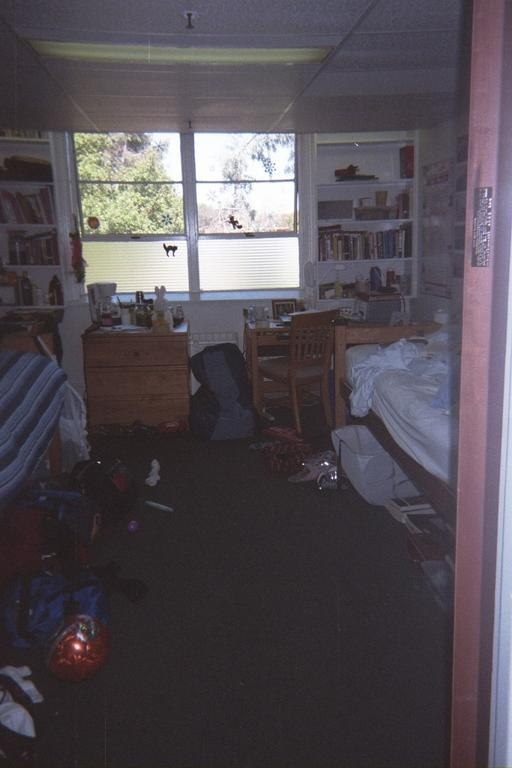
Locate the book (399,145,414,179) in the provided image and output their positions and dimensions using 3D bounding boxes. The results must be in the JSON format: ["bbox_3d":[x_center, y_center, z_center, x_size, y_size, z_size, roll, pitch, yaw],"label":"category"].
[{"bbox_3d":[1.230,-1.840,4.636,0.062,0.276,0.187,-5,12,-20],"label":"book"}]

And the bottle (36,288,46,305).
[{"bbox_3d":[-1.786,-0.724,4.622,0.089,0.143,0.049,-10,14,-39],"label":"bottle"}]

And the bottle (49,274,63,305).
[{"bbox_3d":[-1.654,-0.774,4.620,0.113,0.245,0.057,-6,12,-24],"label":"bottle"}]

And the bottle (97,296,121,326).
[{"bbox_3d":[-1.088,-0.555,4.352,0.246,0.276,0.154,2,7,15],"label":"bottle"}]

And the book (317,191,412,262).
[{"bbox_3d":[0.924,-1.337,4.776,0.786,0.561,0.229,0,11,7],"label":"book"}]

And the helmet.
[{"bbox_3d":[-0.519,0.780,1.657,0.088,0.156,0.182,9,15,42],"label":"helmet"}]

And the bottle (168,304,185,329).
[{"bbox_3d":[-0.643,-0.550,4.454,0.129,0.206,0.195,-5,9,-35],"label":"bottle"}]

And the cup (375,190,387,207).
[{"bbox_3d":[1.049,-1.558,4.713,0.108,0.140,0.120,-1,5,-3],"label":"cup"}]

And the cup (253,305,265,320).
[{"bbox_3d":[0.024,-0.560,4.410,0.096,0.108,0.084,0,11,4],"label":"cup"}]

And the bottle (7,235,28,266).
[{"bbox_3d":[-1.917,-1.078,4.499,0.190,0.215,0.049,2,8,-7],"label":"bottle"}]
